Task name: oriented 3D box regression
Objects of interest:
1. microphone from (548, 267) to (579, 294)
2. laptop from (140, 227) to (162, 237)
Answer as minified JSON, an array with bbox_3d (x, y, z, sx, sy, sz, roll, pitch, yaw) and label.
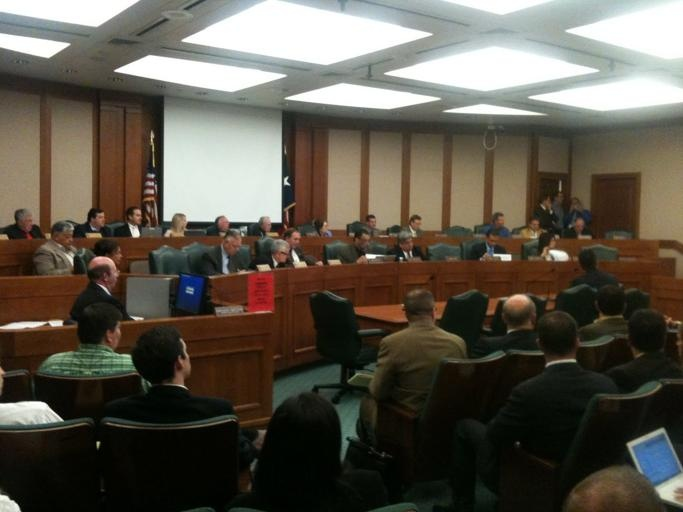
[{"bbox_3d":[2.833,0.304,7.277,0.333,0.321,0.184,-2,4,-20],"label":"microphone"},{"bbox_3d":[-2.841,-0.351,8.469,0.236,0.163,0.169,0,14,-28],"label":"laptop"}]
